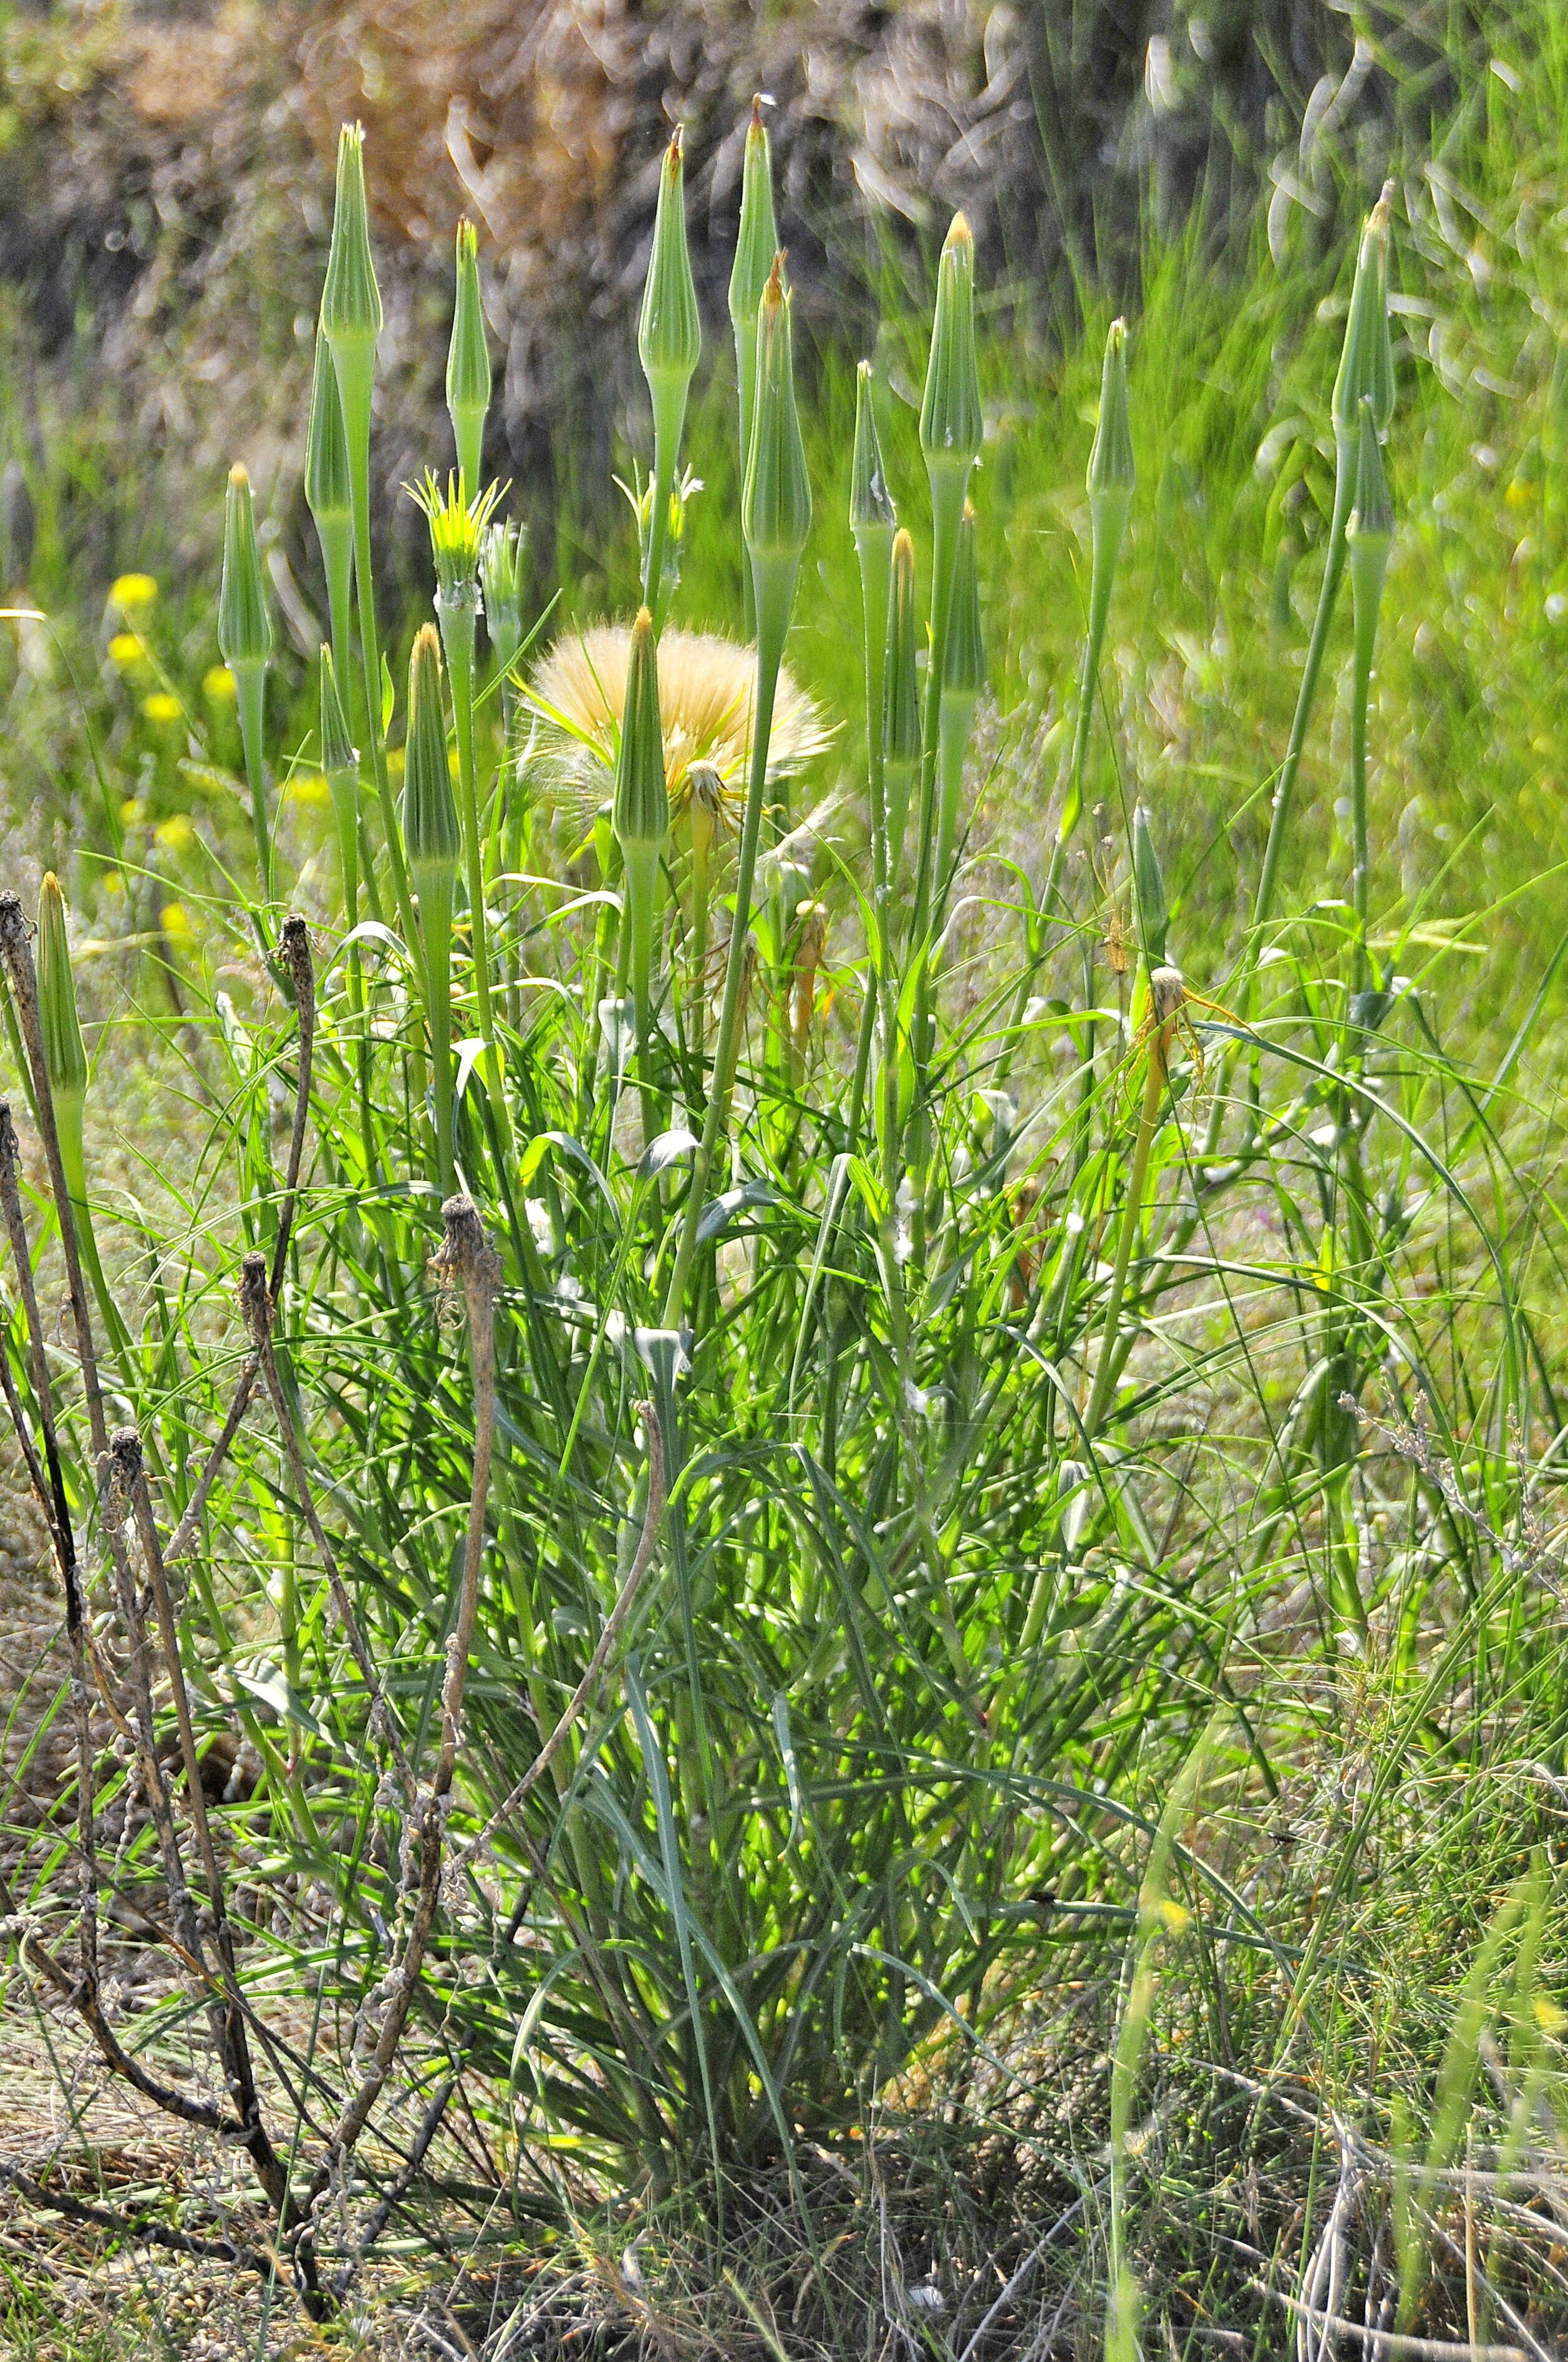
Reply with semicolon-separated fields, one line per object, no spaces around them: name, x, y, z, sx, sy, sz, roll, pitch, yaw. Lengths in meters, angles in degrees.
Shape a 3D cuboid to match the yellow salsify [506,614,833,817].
yellow salsify;-0.057;-0.206;1.457;0.090;0.087;0.110;3;17;-8
